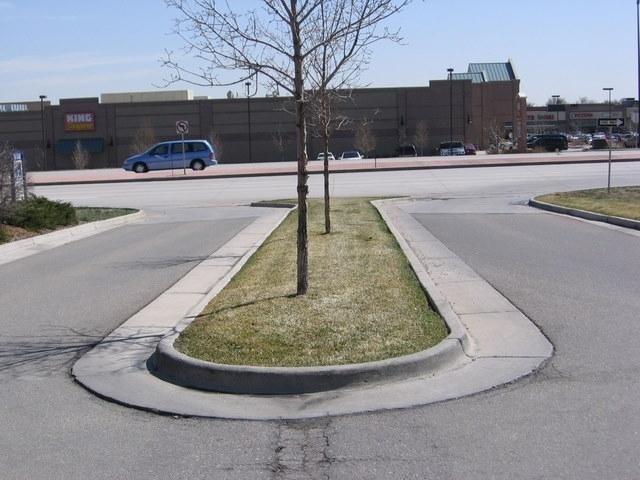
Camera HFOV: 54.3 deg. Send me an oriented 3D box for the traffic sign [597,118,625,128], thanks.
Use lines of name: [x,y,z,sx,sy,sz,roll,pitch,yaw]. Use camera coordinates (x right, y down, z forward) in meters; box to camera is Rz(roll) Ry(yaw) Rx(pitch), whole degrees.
traffic sign: [11.519,-4.633,24.717,0.873,0.356,1.143,3,11,24]
